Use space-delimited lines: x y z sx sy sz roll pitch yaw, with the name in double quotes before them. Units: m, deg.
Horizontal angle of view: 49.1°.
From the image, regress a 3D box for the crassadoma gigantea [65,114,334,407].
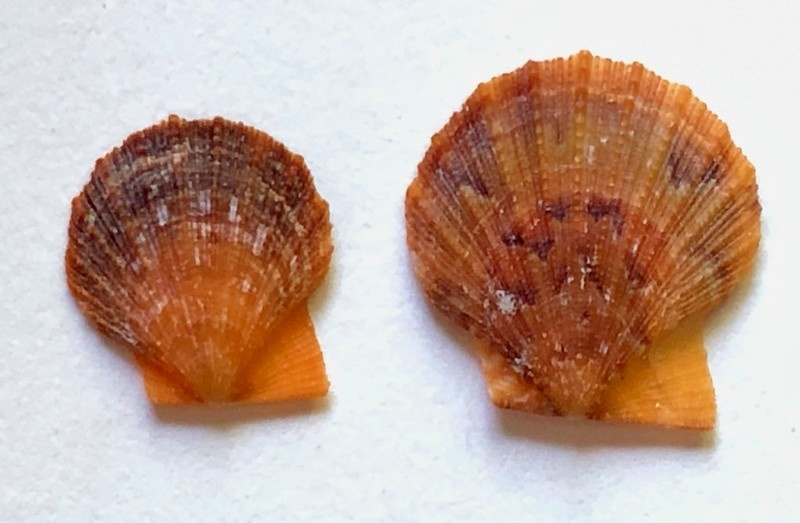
"crassadoma gigantea" -0.391 -0.001 1.738 0.510 0.314 0.459 -4 55 -3
